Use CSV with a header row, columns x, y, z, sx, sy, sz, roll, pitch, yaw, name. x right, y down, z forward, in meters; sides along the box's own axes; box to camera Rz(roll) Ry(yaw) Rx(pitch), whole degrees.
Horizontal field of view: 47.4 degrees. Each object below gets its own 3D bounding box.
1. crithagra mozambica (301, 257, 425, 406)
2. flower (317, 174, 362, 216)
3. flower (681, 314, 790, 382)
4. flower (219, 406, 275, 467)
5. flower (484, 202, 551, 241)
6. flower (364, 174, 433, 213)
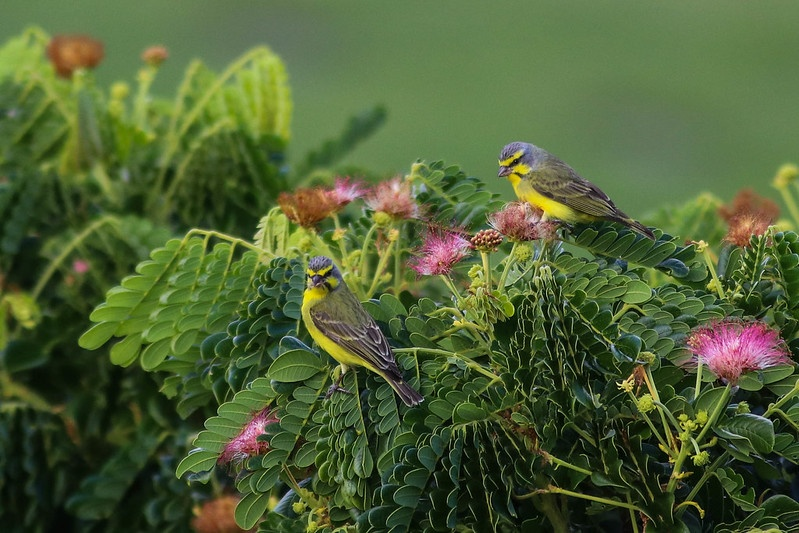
x,y,z,sx,sy,sz,roll,pitch,yaw,name
-0.146,0.242,3.209,0.212,0.612,0.413,-21,-53,-43,crithagra mozambica
-0.195,-0.287,3.400,0.124,0.087,0.125,21,-20,-39,flower
1.108,0.261,3.003,0.249,0.231,0.151,-14,-55,-27,flower
-0.546,0.600,3.209,0.236,0.153,0.088,-28,-36,25,flower
0.412,-0.156,3.166,0.158,0.150,0.094,0,-63,-38,flower
-0.034,-0.267,3.400,0.229,0.140,0.227,7,1,-26,flower
